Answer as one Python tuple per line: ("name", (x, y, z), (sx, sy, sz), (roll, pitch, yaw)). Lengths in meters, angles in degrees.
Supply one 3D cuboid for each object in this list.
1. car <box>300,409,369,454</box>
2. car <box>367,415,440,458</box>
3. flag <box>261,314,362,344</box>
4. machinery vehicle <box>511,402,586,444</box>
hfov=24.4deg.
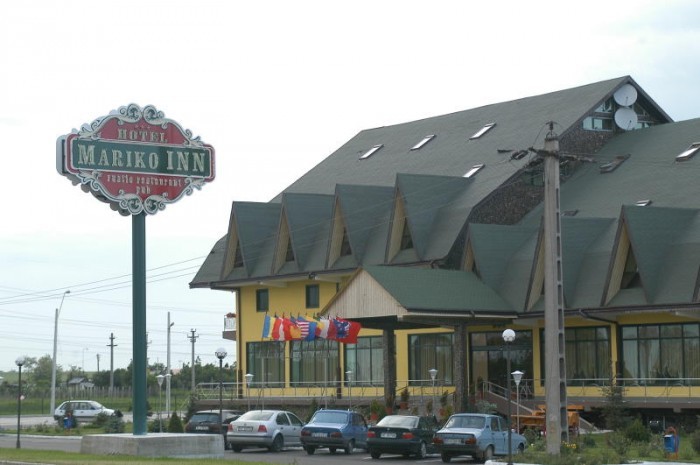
("car", (-0.761, 11.158, 90.601), (3.608, 2.473, 1.470), (1, -16, -8))
("car", (2.935, 11.143, 88.652), (3.657, 2.408, 1.477), (-1, -15, -2))
("flag", (-2.567, 5.888, 99.429), (7.449, 2.536, 3.755), (0, -3, -11))
("machinery vehicle", (11.739, 11.019, 94.700), (5.522, 2.681, 3.107), (0, 1, -8))
